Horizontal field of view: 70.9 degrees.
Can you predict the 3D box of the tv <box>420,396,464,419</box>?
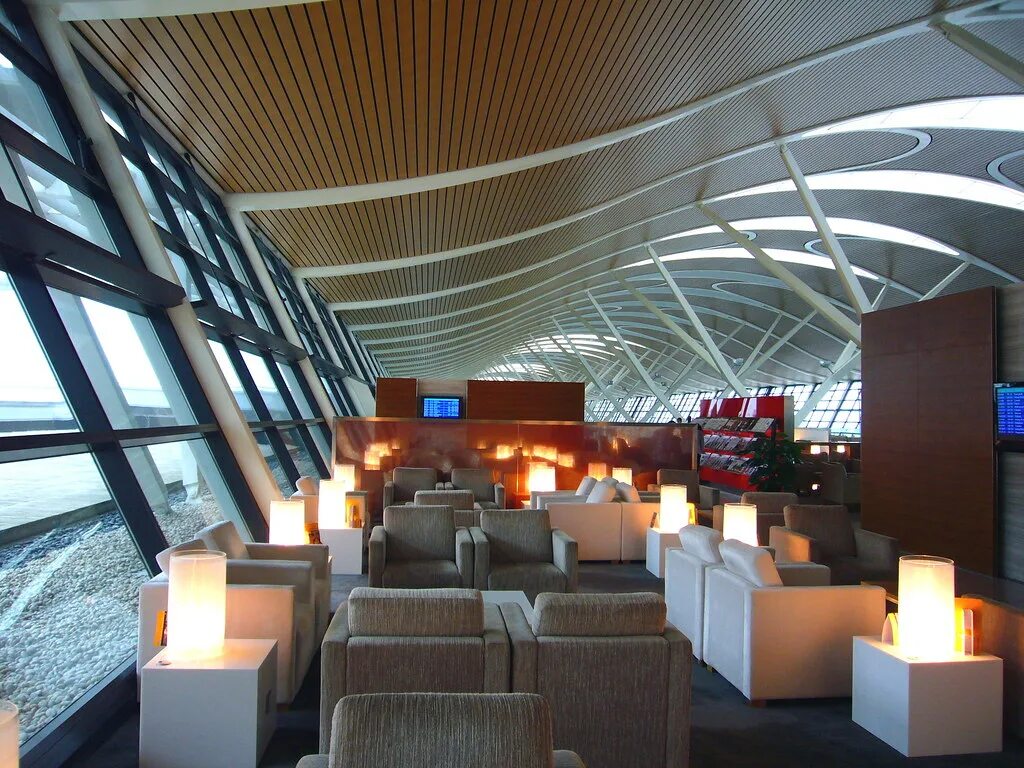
[{"bbox_3d":[-1.677,0.521,17.383,1.065,0.576,0.238,-4,1,-5],"label":"tv"}]
